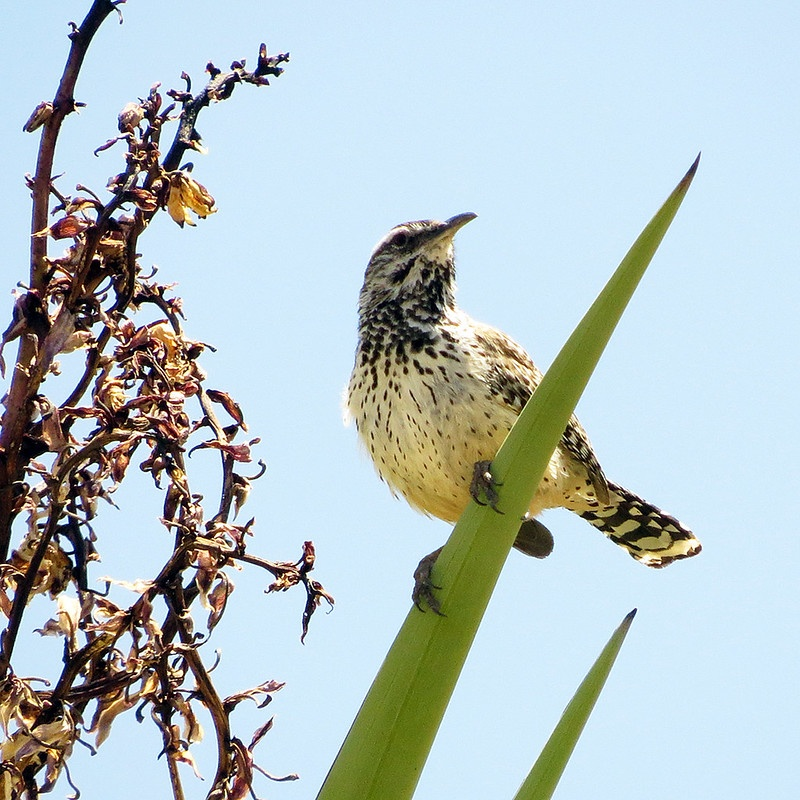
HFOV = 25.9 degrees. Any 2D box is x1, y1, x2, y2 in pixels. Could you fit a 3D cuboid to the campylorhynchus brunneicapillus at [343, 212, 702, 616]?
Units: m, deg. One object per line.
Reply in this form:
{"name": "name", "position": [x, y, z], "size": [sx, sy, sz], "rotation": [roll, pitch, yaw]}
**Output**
{"name": "campylorhynchus brunneicapillus", "position": [0.333, 0.053, 4.892], "size": [1.055, 0.933, 0.567], "rotation": [18, -29, -34]}
